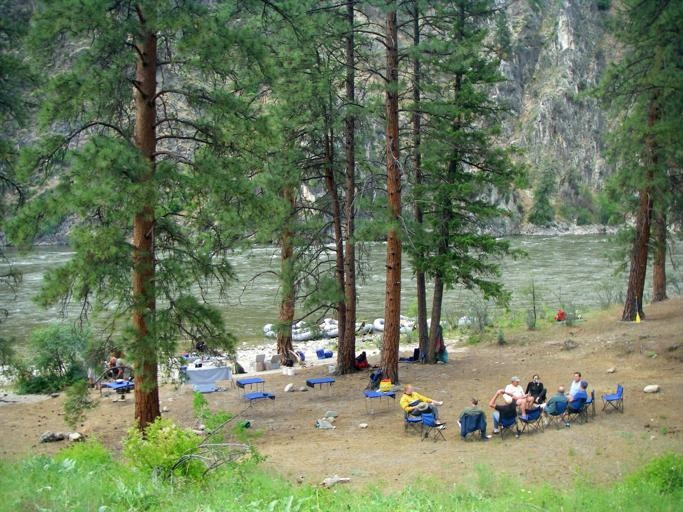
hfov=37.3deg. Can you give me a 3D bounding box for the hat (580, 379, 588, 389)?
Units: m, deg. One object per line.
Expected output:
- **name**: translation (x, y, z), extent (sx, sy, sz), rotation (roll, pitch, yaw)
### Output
- **hat**: translation (8.651, 4.568, 35.939), extent (0.246, 0.353, 0.345), rotation (4, 13, 9)

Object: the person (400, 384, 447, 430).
- **person**: translation (2.876, 5.226, 35.575), extent (1.437, 1.924, 0.987), rotation (-20, -12, 32)

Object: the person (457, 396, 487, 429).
- **person**: translation (4.590, 5.525, 35.507), extent (0.846, 1.016, 0.514), rotation (3, 8, 9)
